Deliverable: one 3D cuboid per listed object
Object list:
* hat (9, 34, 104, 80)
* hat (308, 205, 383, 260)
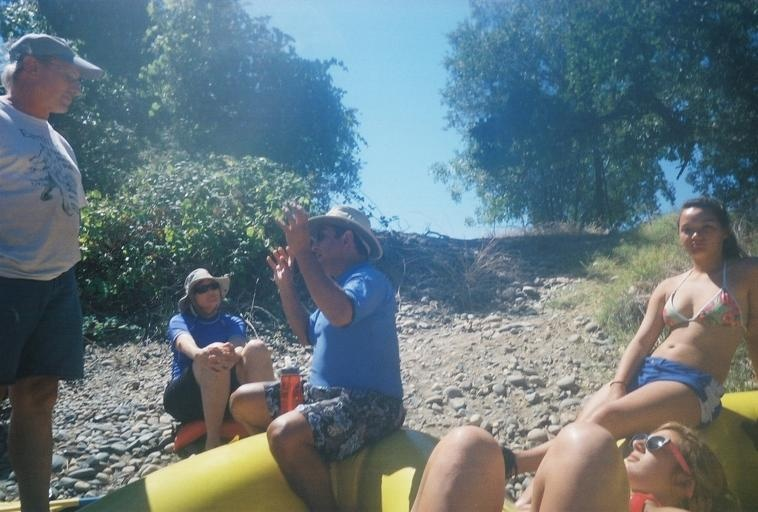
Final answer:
[{"bbox_3d":[-3.149,-1.972,6.110,0.651,0.299,0.412,8,2,-40],"label":"hat"},{"bbox_3d":[-0.288,-0.263,6.139,0.653,0.276,0.589,30,-26,-8],"label":"hat"}]
